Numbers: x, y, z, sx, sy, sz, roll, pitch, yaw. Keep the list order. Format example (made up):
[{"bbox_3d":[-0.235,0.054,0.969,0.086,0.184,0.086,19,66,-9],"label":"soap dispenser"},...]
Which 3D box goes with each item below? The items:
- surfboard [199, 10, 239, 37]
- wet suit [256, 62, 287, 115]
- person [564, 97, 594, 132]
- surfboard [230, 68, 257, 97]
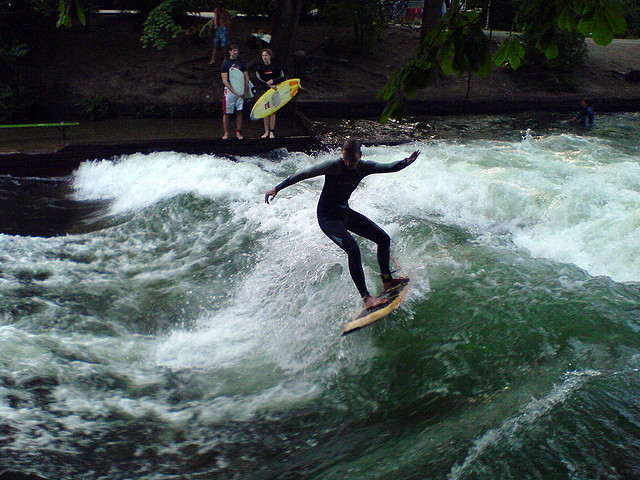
[{"bbox_3d":[-3.047,-6.186,17.971,0.969,0.767,1.216,-16,35,-24],"label":"surfboard"},{"bbox_3d":[-0.983,-3.052,12.358,0.591,1.205,0.410,-1,30,0],"label":"wet suit"},{"bbox_3d":[6.088,-2.809,14.511,0.434,0.930,0.616,-27,34,-36],"label":"person"},{"bbox_3d":[-1.485,-3.000,11.972,0.233,0.625,0.632,17,36,22],"label":"surfboard"}]
